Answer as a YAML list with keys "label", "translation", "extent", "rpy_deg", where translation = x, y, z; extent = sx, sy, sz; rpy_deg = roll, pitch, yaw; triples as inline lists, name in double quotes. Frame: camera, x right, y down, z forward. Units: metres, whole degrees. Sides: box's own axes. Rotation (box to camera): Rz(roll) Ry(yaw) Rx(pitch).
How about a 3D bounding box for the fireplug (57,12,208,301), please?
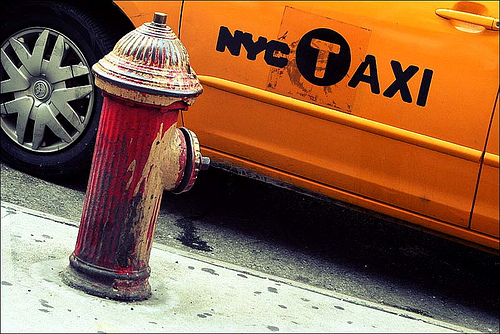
- label: "fireplug"
  translation: [-0.723, -0.055, 4.038]
  extent: [0.822, 1.756, 0.462]
  rpy_deg: [4, 18, -16]
